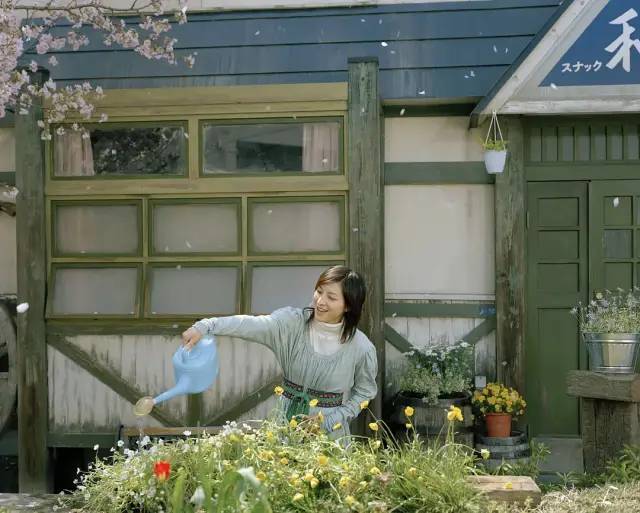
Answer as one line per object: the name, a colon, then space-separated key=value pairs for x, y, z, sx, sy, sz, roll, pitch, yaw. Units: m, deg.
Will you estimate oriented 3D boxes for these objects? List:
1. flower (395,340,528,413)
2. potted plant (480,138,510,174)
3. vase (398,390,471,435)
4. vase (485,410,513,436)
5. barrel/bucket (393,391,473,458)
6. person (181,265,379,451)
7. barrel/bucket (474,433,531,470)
flower: x=1.109 y=0.997 z=10.771 sx=0.591 sy=0.490 sz=0.841 roll=4 pitch=0 yaw=25
potted plant: x=1.450 y=-0.834 z=10.957 sx=0.213 sy=0.280 sz=0.231 roll=2 pitch=-3 yaw=-9
vase: x=0.959 y=1.256 z=10.549 sx=0.421 sy=0.488 sz=0.459 roll=0 pitch=-5 yaw=3
vase: x=1.463 y=1.375 z=10.764 sx=0.215 sy=0.193 sz=0.222 roll=-1 pitch=-2 yaw=5
barrel/bucket: x=0.858 y=1.318 z=10.626 sx=0.566 sy=0.641 sz=0.593 roll=0 pitch=-1 yaw=0
person: x=-0.247 y=0.785 z=9.645 sx=1.071 sy=1.894 sz=0.675 roll=3 pitch=5 yaw=14
barrel/bucket: x=1.440 y=1.543 z=10.323 sx=0.348 sy=0.379 sz=0.369 roll=-2 pitch=-7 yaw=0
